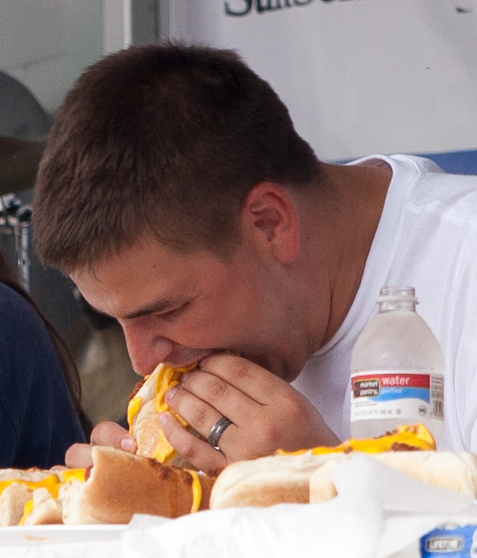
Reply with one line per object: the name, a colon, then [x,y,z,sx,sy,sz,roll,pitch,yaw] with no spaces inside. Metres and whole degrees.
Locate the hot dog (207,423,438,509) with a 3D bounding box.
hot dog: [0.075,0.194,0.753,0.173,0.050,0.115,-11,-10,12]

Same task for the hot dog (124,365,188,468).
hot dog: [-0.184,0.235,1.287,0.075,0.152,0.131,12,3,-27]

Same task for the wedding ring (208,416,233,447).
wedding ring: [-0.028,0.242,1.178,0.018,0.039,0.046,30,-13,10]

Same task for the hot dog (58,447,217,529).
hot dog: [-0.129,0.246,0.872,0.171,0.059,0.083,5,45,-24]
